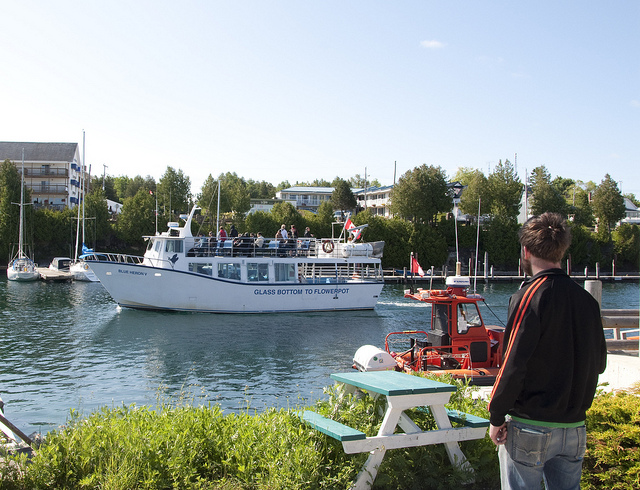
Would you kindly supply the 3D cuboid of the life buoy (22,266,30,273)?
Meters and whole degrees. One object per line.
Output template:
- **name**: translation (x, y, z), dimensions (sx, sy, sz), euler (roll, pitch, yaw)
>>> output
- **life buoy**: translation (-20.498, 1.708, 52.592), dimensions (0.462, 0.544, 0.162), euler (4, -14, -21)

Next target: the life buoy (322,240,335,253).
- **life buoy**: translation (0.285, 0.043, 35.567), dimensions (0.493, 0.574, 0.119), euler (5, -9, -21)

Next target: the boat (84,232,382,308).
- **boat**: translation (-3.646, 1.272, 34.864), dimensions (12.585, 3.868, 3.905), euler (1, -2, -14)
